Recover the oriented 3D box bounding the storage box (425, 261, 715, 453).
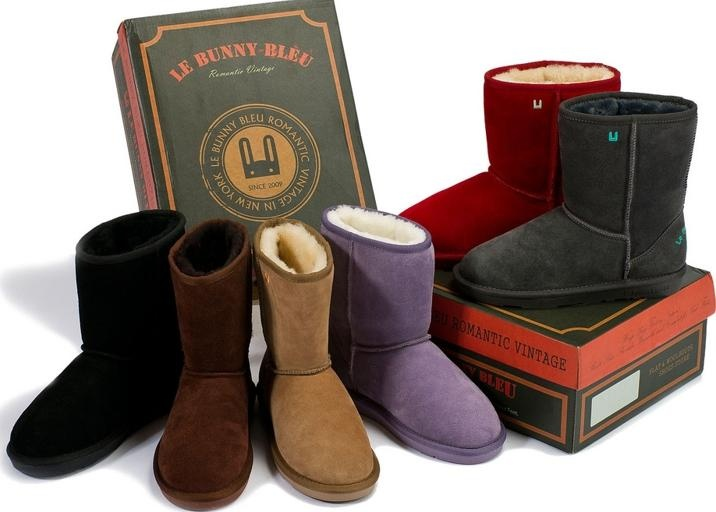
[{"bbox_3d":[0.704,0.380,2.103,0.717,0.366,0.689,-21,34,-35],"label":"storage box"}]
